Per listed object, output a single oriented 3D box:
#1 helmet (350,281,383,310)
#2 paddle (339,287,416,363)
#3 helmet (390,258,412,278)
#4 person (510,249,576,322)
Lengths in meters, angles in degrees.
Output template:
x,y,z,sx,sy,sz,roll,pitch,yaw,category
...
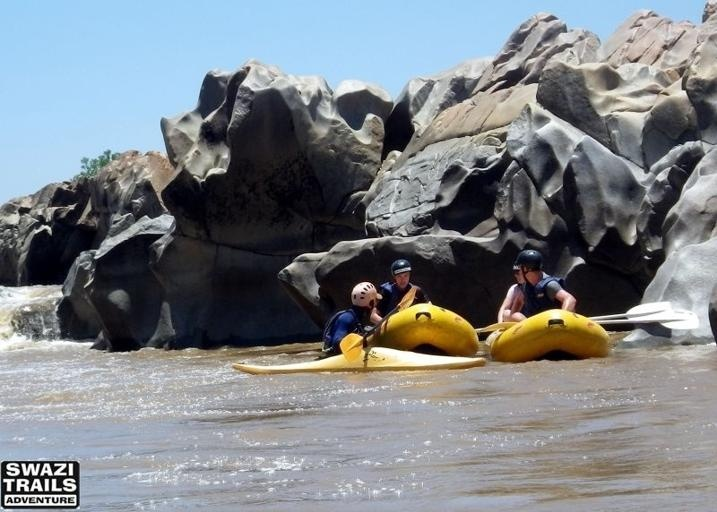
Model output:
x,y,z,sx,sy,sz,roll,pitch,yaw,category
0.133,0.545,19.520,0.320,0.361,0.396,1,8,23,helmet
0.358,0.959,19.421,1.386,0.139,0.380,-46,-20,19,paddle
0.671,0.160,19.940,0.231,0.228,0.298,-4,13,-2,helmet
2.804,0.478,19.515,0.934,1.420,1.444,-6,2,1,person
